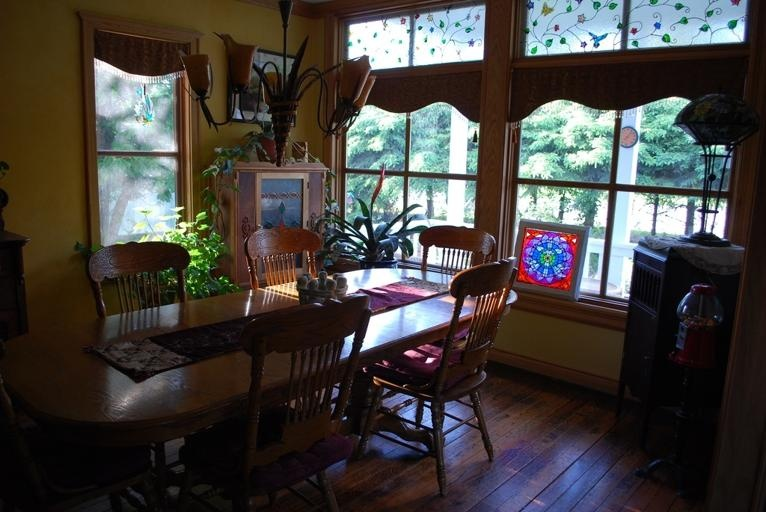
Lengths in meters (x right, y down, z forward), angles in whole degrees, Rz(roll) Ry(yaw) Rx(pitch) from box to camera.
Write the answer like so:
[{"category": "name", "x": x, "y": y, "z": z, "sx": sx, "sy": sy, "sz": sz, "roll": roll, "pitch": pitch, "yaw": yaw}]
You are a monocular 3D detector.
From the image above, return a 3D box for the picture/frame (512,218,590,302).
[{"category": "picture/frame", "x": 1.327, "y": 0.034, "z": 4.088, "sx": 0.555, "sy": 0.596, "sz": 0.091, "roll": 14, "pitch": 13, "yaw": 35}]

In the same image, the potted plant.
[{"category": "potted plant", "x": -0.976, "y": -0.576, "z": 4.404, "sx": 0.953, "sy": 0.937, "sz": 0.374, "roll": -7, "pitch": 13, "yaw": -43}]

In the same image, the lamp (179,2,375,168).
[{"category": "lamp", "x": -0.846, "y": -1.356, "z": 4.085, "sx": 1.462, "sy": 1.206, "sz": 1.413, "roll": 10, "pitch": 16, "yaw": 3}]

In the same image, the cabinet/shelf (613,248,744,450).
[{"category": "cabinet/shelf", "x": 1.762, "y": 0.556, "z": 3.272, "sx": 0.658, "sy": 1.222, "sz": 0.442, "roll": 12, "pitch": 17, "yaw": 43}]

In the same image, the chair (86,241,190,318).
[{"category": "chair", "x": -1.486, "y": 0.141, "z": 3.181, "sx": 0.419, "sy": 0.580, "sz": 0.421, "roll": -13, "pitch": 21, "yaw": -40}]

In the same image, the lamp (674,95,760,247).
[{"category": "lamp", "x": 2.041, "y": -0.533, "z": 3.272, "sx": 0.410, "sy": 0.873, "sz": 0.692, "roll": 9, "pitch": 15, "yaw": 36}]

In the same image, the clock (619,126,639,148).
[{"category": "clock", "x": 1.777, "y": -0.852, "z": 3.818, "sx": 0.156, "sy": 0.149, "sz": 0.030, "roll": 3, "pitch": 11, "yaw": 33}]
